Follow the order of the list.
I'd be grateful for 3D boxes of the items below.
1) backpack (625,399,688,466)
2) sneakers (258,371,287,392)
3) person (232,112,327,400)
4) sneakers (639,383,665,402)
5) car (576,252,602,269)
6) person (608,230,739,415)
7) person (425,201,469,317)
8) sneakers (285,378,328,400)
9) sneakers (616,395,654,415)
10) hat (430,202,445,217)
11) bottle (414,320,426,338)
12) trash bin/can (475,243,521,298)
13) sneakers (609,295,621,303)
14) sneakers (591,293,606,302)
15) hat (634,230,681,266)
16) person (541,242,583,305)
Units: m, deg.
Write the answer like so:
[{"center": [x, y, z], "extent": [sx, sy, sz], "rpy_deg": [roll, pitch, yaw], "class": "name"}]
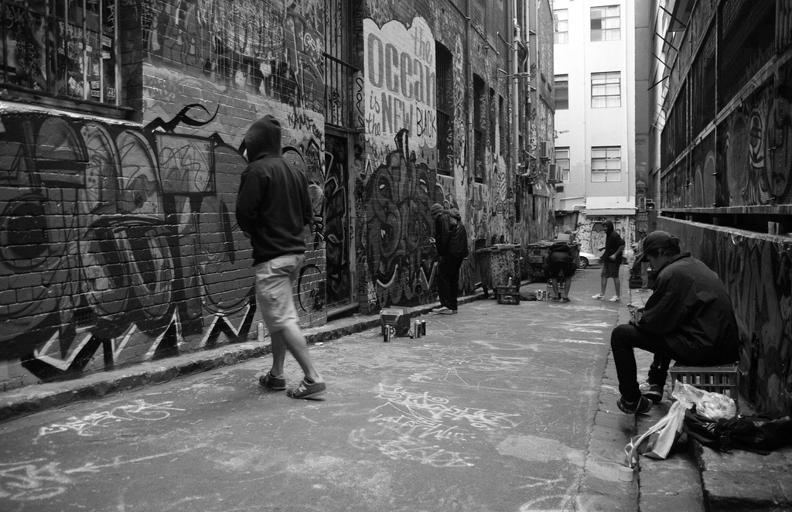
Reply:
[{"center": [2.258, 1.513, 5.343], "extent": [0.547, 0.553, 0.365], "rpy_deg": [0, 6, -10], "class": "backpack"}, {"center": [-1.364, 1.339, 6.860], "extent": [0.306, 0.172, 0.152], "rpy_deg": [14, 12, 42], "class": "sneakers"}, {"center": [-1.238, -0.027, 6.669], "extent": [0.869, 2.950, 0.678], "rpy_deg": [1, 6, 0], "class": "person"}, {"center": [2.754, 1.432, 6.670], "extent": [0.154, 0.199, 0.461], "rpy_deg": [0, 0, 12], "class": "sneakers"}, {"center": [10.002, 0.182, 31.610], "extent": [1.580, 0.801, 0.940], "rpy_deg": [2, 1, 7], "class": "car"}, {"center": [2.720, 0.726, 6.028], "extent": [1.104, 1.758, 0.550], "rpy_deg": [5, 7, 33], "class": "person"}, {"center": [1.121, 0.082, 12.830], "extent": [0.634, 2.104, 0.609], "rpy_deg": [0, 6, -7], "class": "person"}, {"center": [-0.942, 1.400, 6.616], "extent": [0.436, 0.266, 0.179], "rpy_deg": [0, -1, -1], "class": "sneakers"}, {"center": [2.405, 1.476, 6.228], "extent": [0.361, 0.173, 0.180], "rpy_deg": [-4, -11, 14], "class": "sneakers"}, {"center": [0.837, -1.002, 13.068], "extent": [0.309, 0.351, 0.262], "rpy_deg": [-10, -2, 16], "class": "hat"}, {"center": [0.388, 1.166, 9.972], "extent": [0.170, 0.277, 0.223], "rpy_deg": [0, -6, 0], "class": "bottle"}, {"center": [2.810, 0.360, 16.667], "extent": [1.281, 1.329, 0.924], "rpy_deg": [0, 6, -14], "class": "trash bin/can"}, {"center": [5.508, 1.080, 15.566], "extent": [0.346, 0.180, 0.136], "rpy_deg": [-1, 0, 20], "class": "sneakers"}, {"center": [5.143, 1.032, 15.756], "extent": [0.367, 0.243, 0.173], "rpy_deg": [5, 6, 28], "class": "sneakers"}, {"center": [2.717, -0.104, 6.422], "extent": [0.372, 0.326, 0.282], "rpy_deg": [-19, -7, 32], "class": "hat"}, {"center": [4.250, 0.323, 15.775], "extent": [0.898, 1.630, 0.699], "rpy_deg": [16, -23, -27], "class": "person"}]
